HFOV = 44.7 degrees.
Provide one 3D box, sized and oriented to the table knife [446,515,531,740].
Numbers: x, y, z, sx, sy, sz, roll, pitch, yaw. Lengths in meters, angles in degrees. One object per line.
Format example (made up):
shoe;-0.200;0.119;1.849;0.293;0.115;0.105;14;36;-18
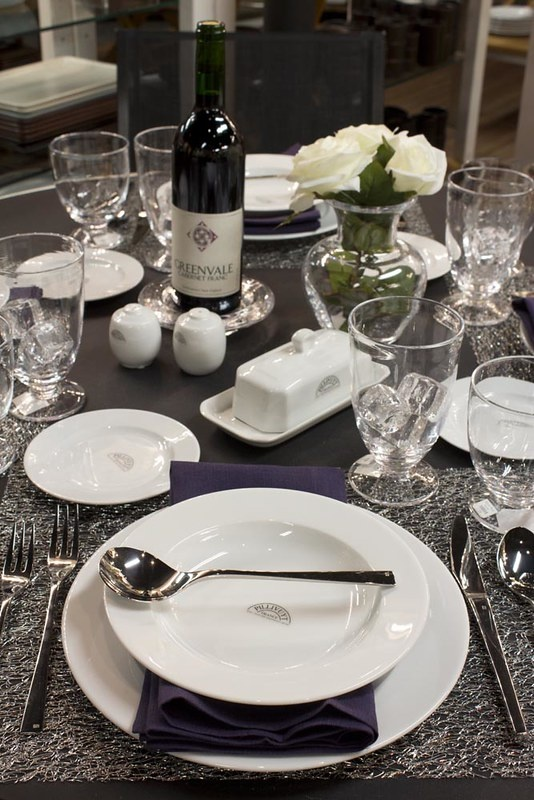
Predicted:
table knife;0.148;0.144;0.445;0.014;0.010;0.132;17;27;-11

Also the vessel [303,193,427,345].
vessel;0.094;-0.174;0.814;0.146;0.172;0.145;-20;40;-30

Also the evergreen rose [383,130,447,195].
evergreen rose;0.157;-0.239;0.691;0.060;0.067;0.034;-12;-1;-22
